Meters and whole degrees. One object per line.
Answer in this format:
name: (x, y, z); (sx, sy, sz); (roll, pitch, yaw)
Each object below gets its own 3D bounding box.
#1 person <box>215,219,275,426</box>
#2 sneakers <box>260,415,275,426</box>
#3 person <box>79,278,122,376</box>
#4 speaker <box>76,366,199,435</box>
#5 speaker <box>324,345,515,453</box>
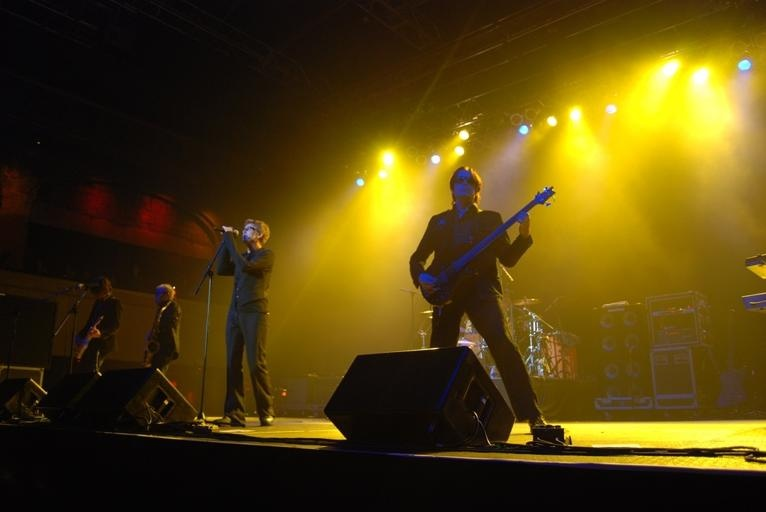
person: (-1.469, 0.682, 6.437); (0.769, 2.339, 0.613); (8, -14, -14)
sneakers: (-1.252, 1.783, 6.290); (0.111, 0.084, 0.114); (-6, -8, 35)
person: (-3.876, 0.946, 8.037); (0.631, 1.306, 0.485); (-6, -17, 36)
speaker: (-2.178, 1.223, 5.521); (0.794, 0.560, 0.927); (-6, 11, -28)
speaker: (0.303, 1.176, 4.086); (0.936, 0.564, 0.832); (-19, -33, 37)
